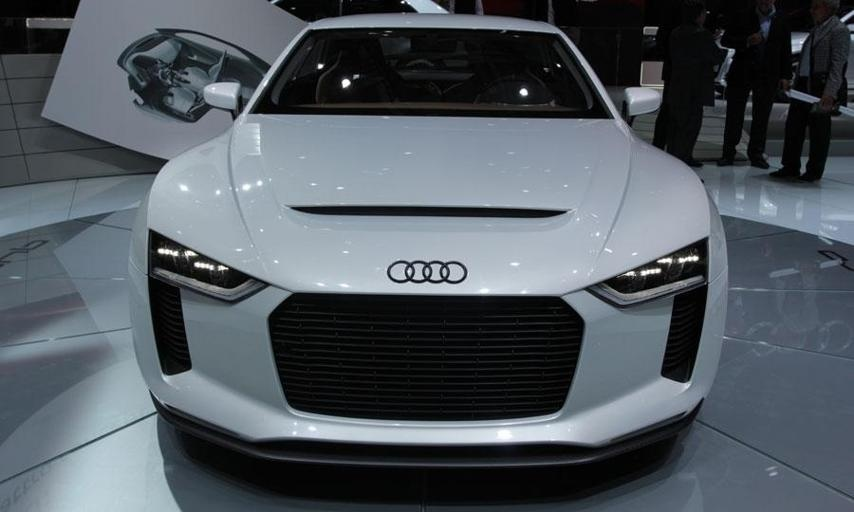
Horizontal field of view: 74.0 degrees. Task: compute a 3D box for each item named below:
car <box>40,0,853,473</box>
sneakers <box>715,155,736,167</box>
[{"bbox_3d":[-0.046,-0.559,3.354,2.107,1.345,2.979,1,18,1],"label":"car"},{"bbox_3d":[4.046,-1.284,7.681,0.300,0.112,0.125,-5,2,-25],"label":"sneakers"}]
